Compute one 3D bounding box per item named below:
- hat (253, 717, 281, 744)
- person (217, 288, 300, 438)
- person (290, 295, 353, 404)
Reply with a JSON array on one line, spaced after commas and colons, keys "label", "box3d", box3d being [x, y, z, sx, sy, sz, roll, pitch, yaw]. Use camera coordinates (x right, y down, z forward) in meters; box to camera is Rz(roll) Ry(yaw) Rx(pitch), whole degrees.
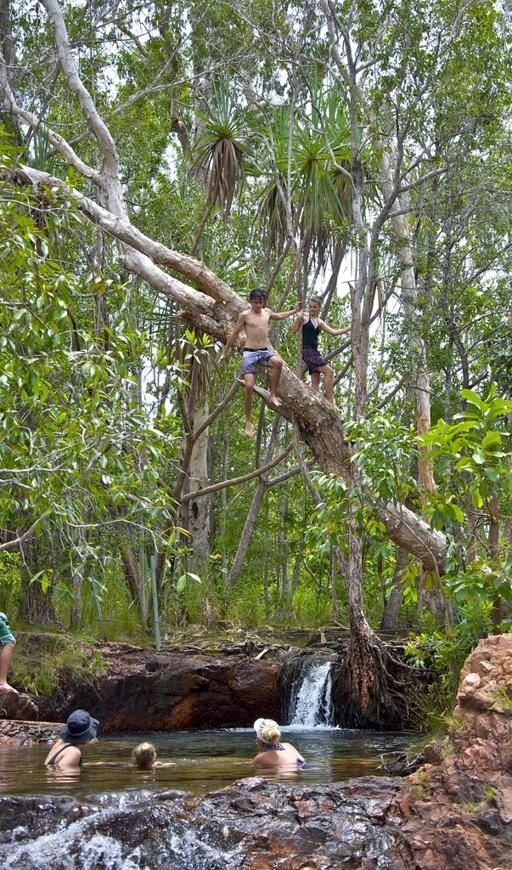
[{"label": "hat", "box3d": [0.085, 2.177, 5.458, 0.158, 0.249, 0.111, 1, -37, -27]}, {"label": "person", "box3d": [0.024, -0.814, 8.733, 0.731, 1.755, 0.688, -3, -7, -3]}, {"label": "person", "box3d": [0.984, -1.115, 9.875, 0.858, 1.715, 0.410, -1, -26, -2]}]
